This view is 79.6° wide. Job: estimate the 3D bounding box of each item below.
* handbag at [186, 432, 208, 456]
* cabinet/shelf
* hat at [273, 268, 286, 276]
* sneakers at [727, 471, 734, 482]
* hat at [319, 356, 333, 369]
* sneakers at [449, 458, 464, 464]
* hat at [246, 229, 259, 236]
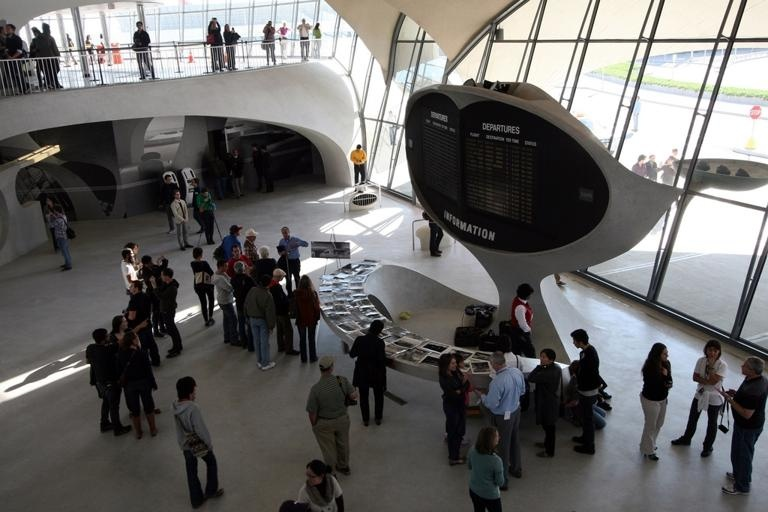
[{"bbox_3d":[-2.625,2.596,6.449,0.221,0.314,0.182,-24,25,19],"label":"handbag"},{"bbox_3d":[0.547,1.217,9.938,2.673,0.997,4.828,-30,40,-29],"label":"cabinet/shelf"},{"bbox_3d":[-2.121,0.363,9.398,0.242,0.126,0.178,-19,31,-29],"label":"hat"},{"bbox_3d":[5.193,3.282,6.921,0.098,0.045,0.129,-18,19,-32],"label":"sneakers"},{"bbox_3d":[-0.847,1.528,6.674,0.175,0.249,0.156,-1,20,-11],"label":"hat"},{"bbox_3d":[1.141,3.197,7.232,0.215,0.101,0.037,2,19,-4],"label":"sneakers"},{"bbox_3d":[-3.840,-0.687,13.432,0.385,0.138,0.389,5,23,16],"label":"hat"}]
